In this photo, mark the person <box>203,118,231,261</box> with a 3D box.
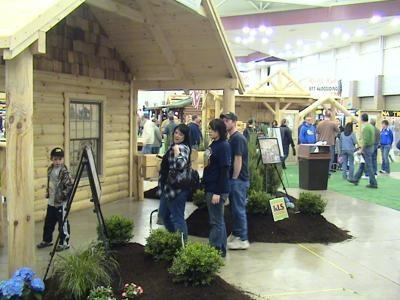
[{"bbox_3d":[0.263,0.674,5.286,0.474,2.350,0.893,4,7,6],"label":"person"}]

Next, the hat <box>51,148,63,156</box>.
[{"bbox_3d":[-2.477,0.040,5.692,0.187,0.144,0.181,-2,9,-37],"label":"hat"}]

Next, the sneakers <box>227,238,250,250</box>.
[{"bbox_3d":[0.691,1.723,6.045,0.450,0.223,0.168,3,1,6],"label":"sneakers"}]

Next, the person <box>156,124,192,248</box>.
[{"bbox_3d":[-0.384,0.545,5.416,0.454,1.966,0.916,-1,8,-30],"label":"person"}]

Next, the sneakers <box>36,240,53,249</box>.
[{"bbox_3d":[-2.826,1.734,6.023,0.105,0.121,0.293,32,13,38],"label":"sneakers"}]

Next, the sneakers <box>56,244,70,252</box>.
[{"bbox_3d":[-2.402,1.720,5.718,0.091,0.104,0.251,14,-2,28],"label":"sneakers"}]

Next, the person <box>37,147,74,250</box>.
[{"bbox_3d":[-2.544,0.897,5.739,0.548,1.860,0.636,0,8,-27],"label":"person"}]

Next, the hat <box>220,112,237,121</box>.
[{"bbox_3d":[0.510,-0.619,5.883,0.242,0.132,0.162,26,7,-18],"label":"hat"}]
